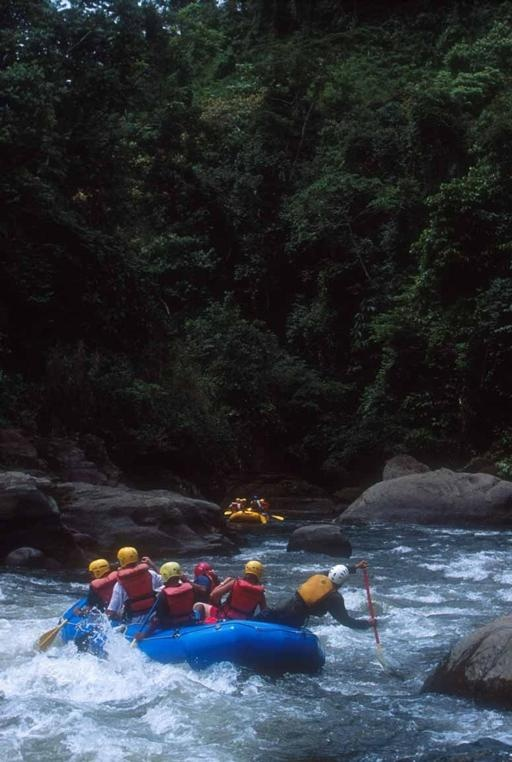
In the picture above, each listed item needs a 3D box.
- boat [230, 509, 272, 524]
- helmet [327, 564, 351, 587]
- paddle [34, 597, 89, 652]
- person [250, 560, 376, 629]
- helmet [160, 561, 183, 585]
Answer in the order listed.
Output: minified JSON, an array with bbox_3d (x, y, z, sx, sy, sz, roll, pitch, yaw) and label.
[{"bbox_3d":[-0.226,3.705,25.147,1.356,0.291,0.509,0,3,33],"label":"boat"},{"bbox_3d":[0.934,2.125,10.209,0.196,0.236,0.250,32,31,-14],"label":"helmet"},{"bbox_3d":[-2.221,2.805,10.745,0.201,0.045,1.152,-35,-5,24],"label":"paddle"},{"bbox_3d":[0.731,2.735,11.702,1.711,0.544,0.682,-17,27,-2],"label":"person"},{"bbox_3d":[-0.954,2.147,10.369,0.201,0.199,0.259,10,-14,-43],"label":"helmet"}]
